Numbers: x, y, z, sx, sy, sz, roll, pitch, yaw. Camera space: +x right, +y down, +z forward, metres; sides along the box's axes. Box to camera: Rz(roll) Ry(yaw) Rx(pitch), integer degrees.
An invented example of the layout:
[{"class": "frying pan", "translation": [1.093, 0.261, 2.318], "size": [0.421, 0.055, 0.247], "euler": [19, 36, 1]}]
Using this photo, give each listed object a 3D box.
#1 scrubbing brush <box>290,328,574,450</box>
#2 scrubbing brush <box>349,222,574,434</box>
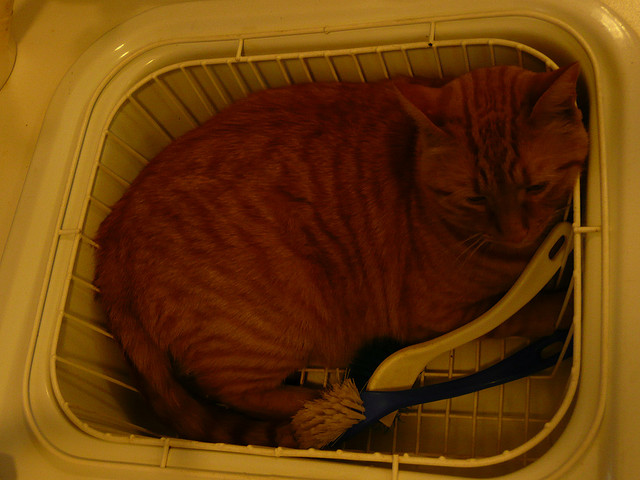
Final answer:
[{"class": "scrubbing brush", "translation": [0.250, 0.312, 1.404], "size": [0.498, 0.096, 0.117], "euler": [-15, 38, 7]}, {"class": "scrubbing brush", "translation": [0.286, 0.188, 1.473], "size": [0.679, 0.098, 0.238], "euler": [-30, 81, -3]}]
